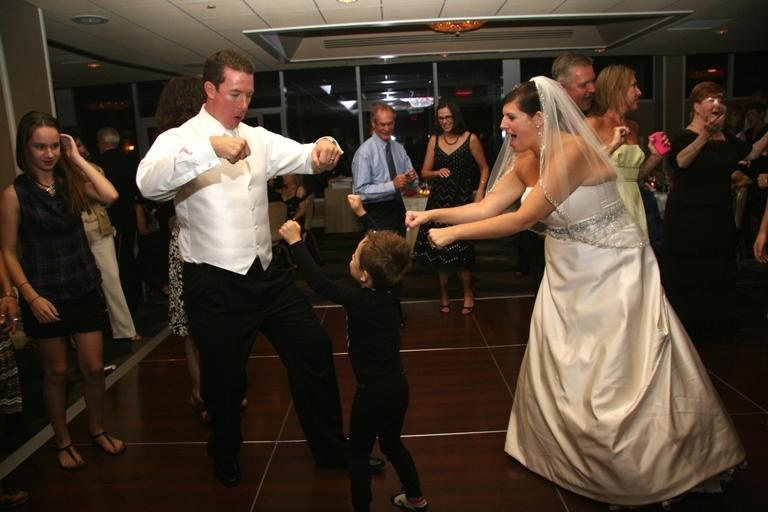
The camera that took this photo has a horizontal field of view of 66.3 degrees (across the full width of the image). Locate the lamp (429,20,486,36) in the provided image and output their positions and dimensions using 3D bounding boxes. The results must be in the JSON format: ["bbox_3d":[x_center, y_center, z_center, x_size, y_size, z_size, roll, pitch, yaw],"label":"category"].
[{"bbox_3d":[0.802,-2.460,6.367,0.564,0.121,0.339,-9,17,-28],"label":"lamp"}]

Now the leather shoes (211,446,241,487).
[{"bbox_3d":[-1.003,1.329,3.817,0.181,0.252,0.170,-10,18,-30],"label":"leather shoes"}]

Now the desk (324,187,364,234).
[{"bbox_3d":[-0.385,-0.651,8.166,0.634,0.599,0.623,-8,9,-38],"label":"desk"}]

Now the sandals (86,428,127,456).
[{"bbox_3d":[-1.934,1.288,4.124,0.241,0.099,0.132,18,16,12],"label":"sandals"}]

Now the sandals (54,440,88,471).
[{"bbox_3d":[-2.102,1.349,3.958,0.269,0.111,0.106,-5,-8,39],"label":"sandals"}]
